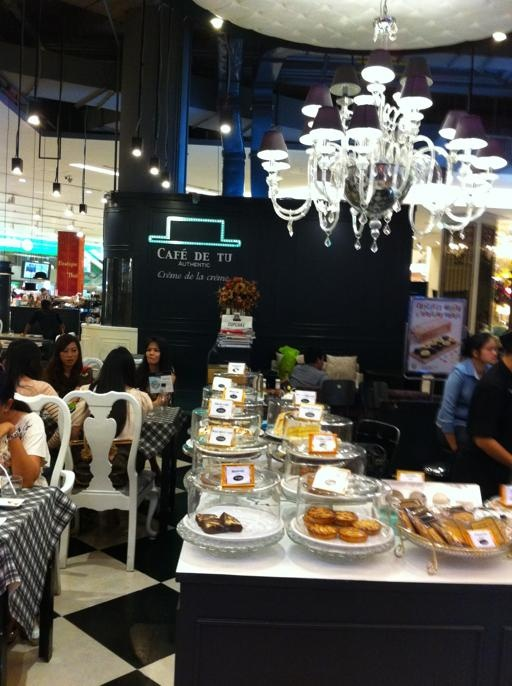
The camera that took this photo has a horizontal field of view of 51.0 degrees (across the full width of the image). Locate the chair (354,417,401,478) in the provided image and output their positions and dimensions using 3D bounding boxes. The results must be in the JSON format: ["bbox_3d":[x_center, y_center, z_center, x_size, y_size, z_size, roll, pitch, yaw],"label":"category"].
[{"bbox_3d":[0.807,0.734,3.569,0.247,0.383,0.636,-2,3,8],"label":"chair"}]

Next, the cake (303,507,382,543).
[{"bbox_3d":[0.231,0.491,1.449,0.213,0.056,0.163,-1,3,12],"label":"cake"}]

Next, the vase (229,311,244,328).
[{"bbox_3d":[-0.244,-0.290,6.576,0.178,0.165,0.170,2,23,-3],"label":"vase"}]

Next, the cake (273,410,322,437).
[{"bbox_3d":[0.143,0.323,2.087,0.154,0.086,0.155,0,0,39],"label":"cake"}]

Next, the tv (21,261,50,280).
[{"bbox_3d":[-8.072,-2.623,19.470,0.612,0.766,1.115,5,4,33],"label":"tv"}]

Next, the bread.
[{"bbox_3d":[0.546,0.511,1.505,0.284,0.058,0.264,-2,3,-7],"label":"bread"}]

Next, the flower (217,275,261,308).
[{"bbox_3d":[-0.227,-0.603,6.643,0.478,0.455,0.478,5,8,28],"label":"flower"}]
